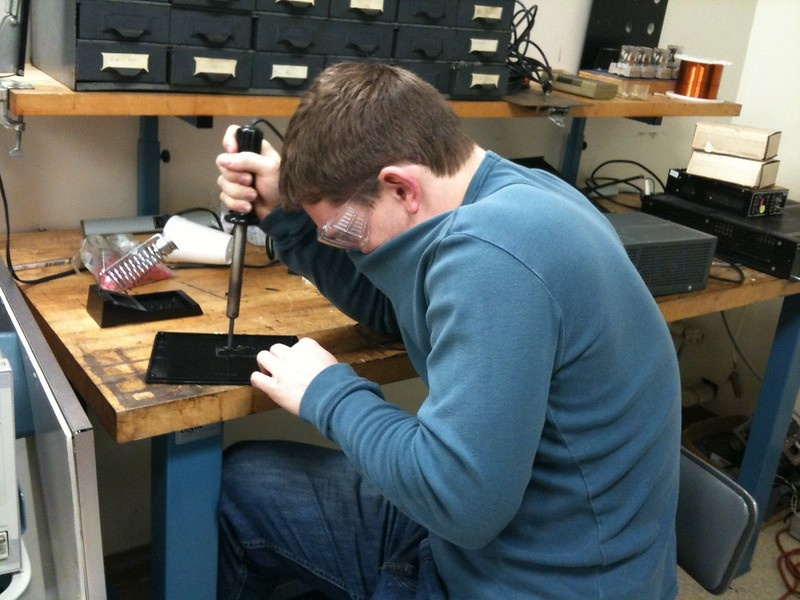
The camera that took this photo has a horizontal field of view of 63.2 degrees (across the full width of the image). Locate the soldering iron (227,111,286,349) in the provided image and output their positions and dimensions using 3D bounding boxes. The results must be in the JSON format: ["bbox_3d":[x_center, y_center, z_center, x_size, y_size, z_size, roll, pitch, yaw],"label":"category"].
[{"bbox_3d":[-0.333,-0.139,1.425,0.099,0.479,0.071,4,-7,29],"label":"soldering iron"}]

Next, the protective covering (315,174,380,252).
[{"bbox_3d":[-0.083,-0.154,1.185,0.111,0.122,0.095,1,-4,18],"label":"protective covering"}]

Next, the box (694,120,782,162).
[{"bbox_3d":[1.224,-0.590,2.487,0.269,0.100,0.198,10,7,2],"label":"box"}]

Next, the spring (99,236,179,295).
[{"bbox_3d":[-0.670,-0.084,1.678,0.154,0.053,0.064,-42,1,-26],"label":"spring"}]

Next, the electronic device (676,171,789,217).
[{"bbox_3d":[1.239,-0.410,2.491,0.290,0.097,0.358,-5,24,-30],"label":"electronic device"}]

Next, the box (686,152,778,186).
[{"bbox_3d":[1.217,-0.479,2.395,0.199,0.070,0.200,16,16,35],"label":"box"}]
